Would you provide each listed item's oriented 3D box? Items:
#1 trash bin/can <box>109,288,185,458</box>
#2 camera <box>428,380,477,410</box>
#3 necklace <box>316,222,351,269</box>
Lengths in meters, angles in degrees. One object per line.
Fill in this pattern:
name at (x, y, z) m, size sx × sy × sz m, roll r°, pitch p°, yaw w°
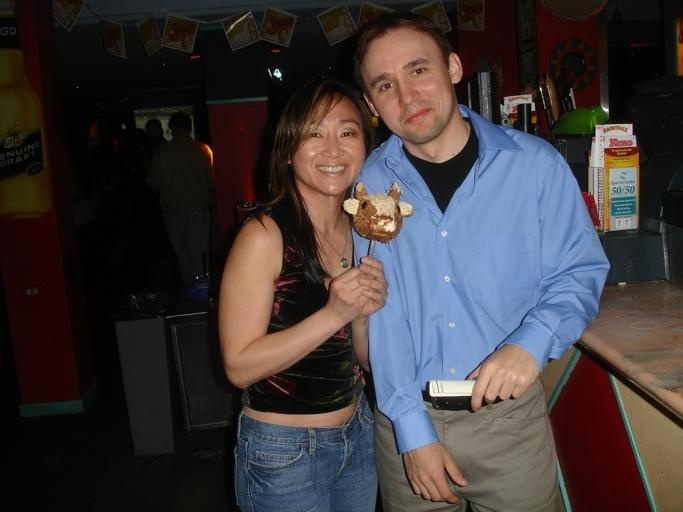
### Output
trash bin/can at (-1.544, 1.044, 4.225) m, size 0.410 × 1.239 × 0.312 m, roll -6°, pitch 5°, yaw -25°
camera at (0.442, 0.554, 2.117) m, size 0.148 × 0.046 × 0.116 m, roll -2°, pitch 38°, yaw 8°
necklace at (-0.038, -0.044, 2.465) m, size 0.179 × 0.183 × 0.042 m, roll 0°, pitch -15°, yaw -42°
